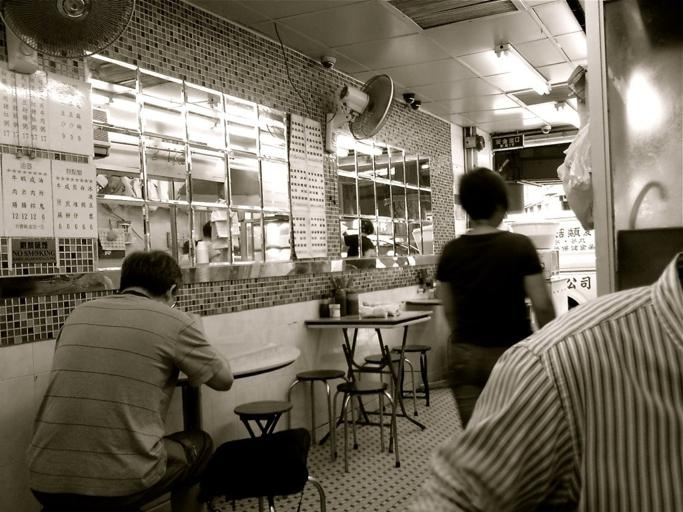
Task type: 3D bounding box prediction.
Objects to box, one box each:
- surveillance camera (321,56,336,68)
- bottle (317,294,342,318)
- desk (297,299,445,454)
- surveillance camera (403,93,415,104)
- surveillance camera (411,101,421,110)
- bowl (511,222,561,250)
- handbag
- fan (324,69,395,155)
[{"bbox_3d":[-0.122,-1.689,5.579,0.091,0.071,0.093,0,-6,-13],"label":"surveillance camera"},{"bbox_3d":[-0.085,0.429,5.525,0.159,0.187,0.190,2,2,29],"label":"bottle"},{"bbox_3d":[0.306,0.923,5.501,1.090,1.181,1.064,-1,2,12],"label":"desk"},{"bbox_3d":[0.724,-1.702,6.849,0.092,0.095,0.095,-5,9,-23],"label":"surveillance camera"},{"bbox_3d":[0.813,-1.693,7.042,0.097,0.087,0.107,1,-7,-31],"label":"surveillance camera"},{"bbox_3d":[2.072,-0.239,6.783,0.350,0.218,0.366,-1,-5,0],"label":"bowl"},{"bbox_3d":[-0.390,0.995,2.979,0.362,0.093,0.372,-6,6,-9],"label":"handbag"},{"bbox_3d":[0.192,-1.223,5.596,0.515,0.729,0.511,14,13,11],"label":"fan"}]
